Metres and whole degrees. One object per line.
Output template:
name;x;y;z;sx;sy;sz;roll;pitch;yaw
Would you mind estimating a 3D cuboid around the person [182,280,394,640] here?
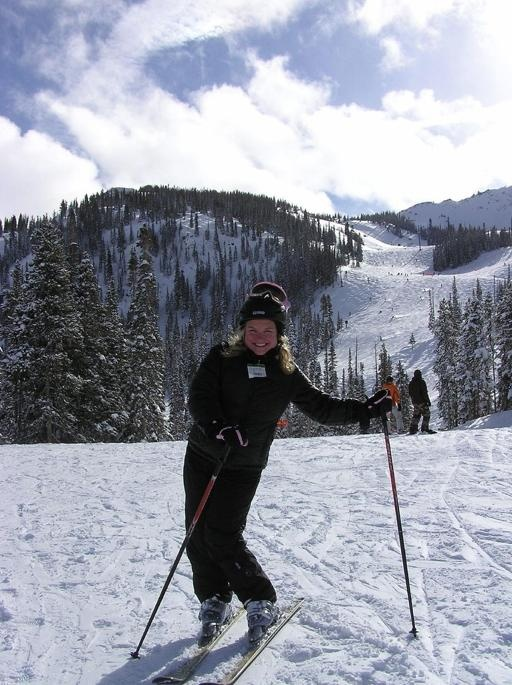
person;0.067;0.885;5.335;1.271;1.883;0.734;-1;1;-33
